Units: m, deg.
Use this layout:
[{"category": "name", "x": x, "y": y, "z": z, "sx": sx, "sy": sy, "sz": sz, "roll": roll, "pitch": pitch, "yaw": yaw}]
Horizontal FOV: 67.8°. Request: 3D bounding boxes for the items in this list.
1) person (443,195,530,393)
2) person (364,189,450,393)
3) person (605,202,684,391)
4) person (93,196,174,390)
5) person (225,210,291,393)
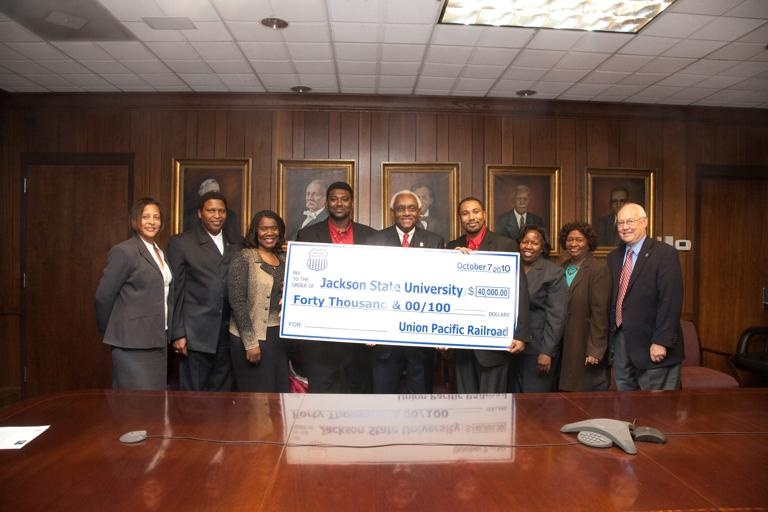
[{"category": "person", "x": 0.948, "y": 0.380, "z": 5.321, "sx": 0.625, "sy": 1.832, "sz": 0.944, "roll": -2, "pitch": 5, "yaw": -22}, {"category": "person", "x": 0.163, "y": 0.359, "z": 5.333, "sx": 0.702, "sy": 1.909, "sz": 0.718, "roll": 2, "pitch": 5, "yaw": 15}, {"category": "person", "x": 2.426, "y": 0.521, "z": 5.326, "sx": 0.685, "sy": 1.508, "sz": 0.358, "roll": 3, "pitch": 6, "yaw": 31}, {"category": "person", "x": -2.201, "y": 0.351, "z": 5.059, "sx": 0.629, "sy": 1.709, "sz": 0.366, "roll": -2, "pitch": 5, "yaw": -27}, {"category": "person", "x": -1.162, "y": 0.423, "z": 5.280, "sx": 0.501, "sy": 1.629, "sz": 0.323, "roll": -1, "pitch": 5, "yaw": -16}]
